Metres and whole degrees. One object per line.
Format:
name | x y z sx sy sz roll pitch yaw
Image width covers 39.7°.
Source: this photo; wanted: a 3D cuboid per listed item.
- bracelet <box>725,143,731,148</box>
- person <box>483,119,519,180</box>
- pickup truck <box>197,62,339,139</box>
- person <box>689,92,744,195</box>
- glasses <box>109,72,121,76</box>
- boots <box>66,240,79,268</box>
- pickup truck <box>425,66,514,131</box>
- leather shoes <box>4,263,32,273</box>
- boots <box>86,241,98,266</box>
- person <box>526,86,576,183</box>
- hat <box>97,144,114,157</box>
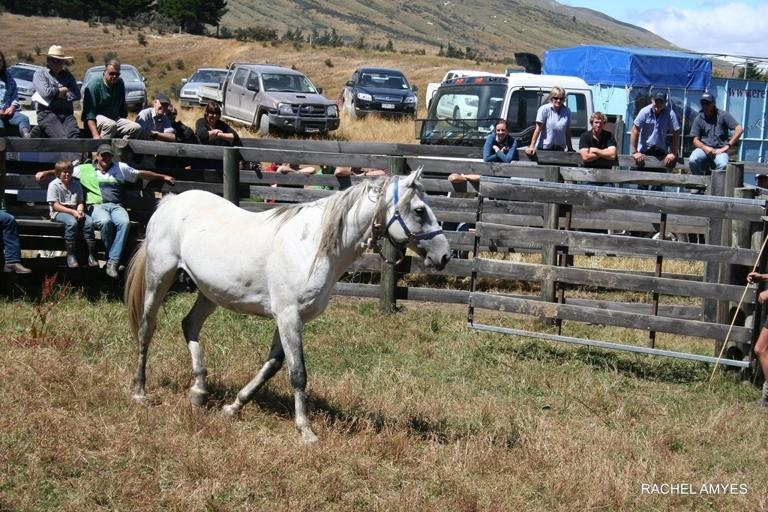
bracelet | 6.933 -2.229 21.444 0.078 0.089 0.181 15 17 38
person | 2.232 -2.202 20.615 0.636 1.013 0.973 0 20 8
pickup truck | -3.712 -4.765 32.307 2.214 2.441 6.209 -2 11 -35
person | 6.710 -2.439 21.607 0.950 1.570 1.271 8 14 16
glasses | -5.084 -3.448 20.053 0.187 0.064 0.201 -4 22 -29
boots | -5.575 -0.019 19.054 0.213 0.535 0.312 1 13 -13
pickup truck | 1.800 -3.497 24.037 1.149 0.844 2.026 0 8 -15
leather shoes | -6.395 0.188 18.651 0.459 0.222 0.192 3 4 8
boots | -5.248 -0.039 19.144 0.212 0.549 0.344 0 13 -16
person | 3.329 -2.640 21.193 0.692 1.441 1.296 12 15 33
hat | -4.969 -1.889 18.964 0.265 0.218 0.438 0 15 -17
